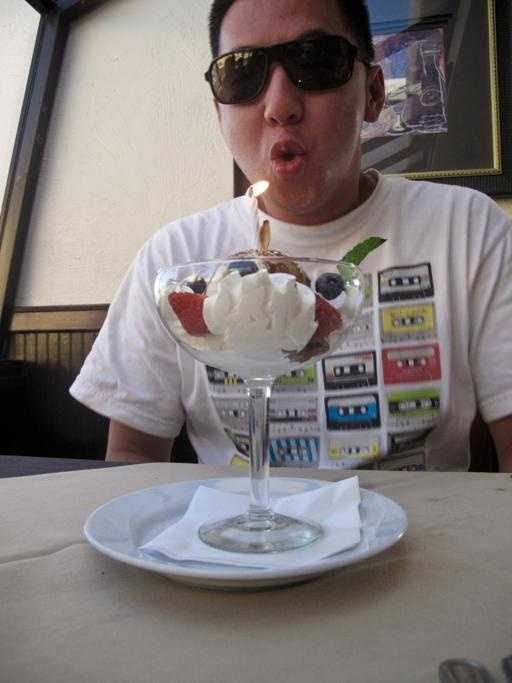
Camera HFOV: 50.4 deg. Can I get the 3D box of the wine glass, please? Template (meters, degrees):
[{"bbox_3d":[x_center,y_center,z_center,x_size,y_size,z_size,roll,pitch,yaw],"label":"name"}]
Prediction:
[{"bbox_3d":[0.004,0.047,0.492,0.219,0.268,0.213,0,-6,0],"label":"wine glass"}]

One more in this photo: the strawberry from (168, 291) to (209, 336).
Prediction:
[{"bbox_3d":[-0.047,-0.020,0.407,0.035,0.040,0.011,15,42,42],"label":"strawberry"}]
